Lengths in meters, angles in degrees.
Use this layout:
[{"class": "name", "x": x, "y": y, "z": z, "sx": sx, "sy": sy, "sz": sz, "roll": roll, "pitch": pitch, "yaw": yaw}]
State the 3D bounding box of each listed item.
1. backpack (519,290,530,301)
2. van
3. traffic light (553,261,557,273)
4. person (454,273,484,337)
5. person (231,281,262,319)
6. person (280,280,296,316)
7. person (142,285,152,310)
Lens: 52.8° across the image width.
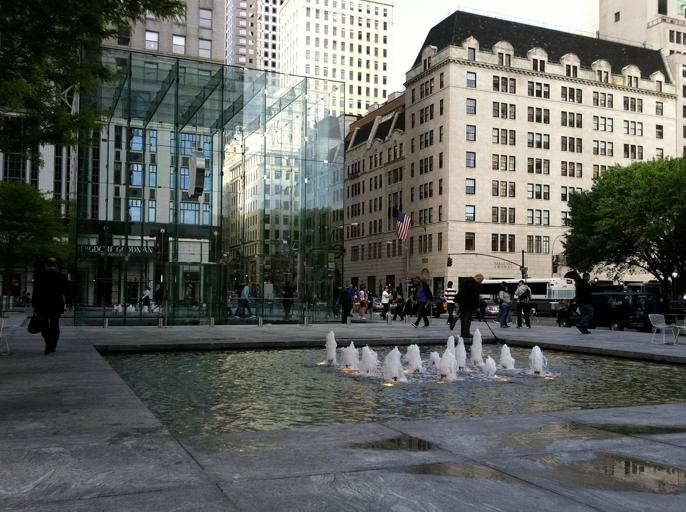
[{"class": "backpack", "x": 7.701, "y": 1.688, "z": 29.644, "sx": 0.459, "sy": 0.486, "sz": 0.808, "roll": -2, "pitch": -4, "yaw": 13}, {"class": "van", "x": 13.063, "y": 2.593, "z": 33.763, "sx": 2.501, "sy": 1.724, "sz": 3.931, "roll": 1, "pitch": 2, "yaw": -37}, {"class": "traffic light", "x": 24.589, "y": 1.327, "z": 80.602, "sx": 0.483, "sy": 1.249, "sz": 0.452, "roll": -2, "pitch": -4, "yaw": 10}, {"class": "person", "x": 4.096, "y": 1.621, "z": 22.491, "sx": 0.772, "sy": 2.166, "sz": 1.015, "roll": 5, "pitch": -6, "yaw": -22}, {"class": "person", "x": -4.339, "y": 1.971, "z": 31.033, "sx": 0.423, "sy": 1.602, "sz": 1.062, "roll": -5, "pitch": -5, "yaw": 45}, {"class": "person", "x": -2.515, "y": 2.011, "z": 31.995, "sx": 0.633, "sy": 1.799, "sz": 0.309, "roll": 0, "pitch": -4, "yaw": -25}, {"class": "person", "x": -8.556, "y": 1.825, "z": 30.204, "sx": 0.372, "sy": 1.035, "sz": 0.772, "roll": 0, "pitch": -4, "yaw": -16}]
